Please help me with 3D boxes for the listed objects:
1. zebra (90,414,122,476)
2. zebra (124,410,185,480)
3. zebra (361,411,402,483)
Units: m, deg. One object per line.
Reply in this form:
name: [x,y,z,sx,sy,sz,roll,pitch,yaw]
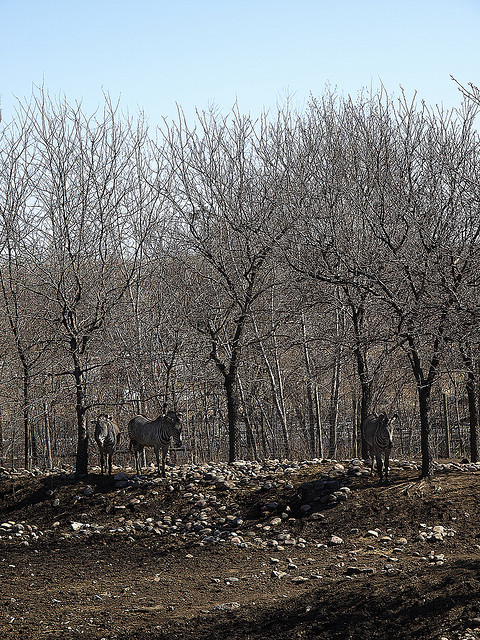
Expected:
zebra: [-3.142,2.955,22.316,0.603,1.118,2.204,-3,1,-8]
zebra: [-1.940,2.741,21.109,1.602,1.611,0.476,0,6,36]
zebra: [2.887,2.554,19.351,0.559,1.374,1.728,-2,1,3]
